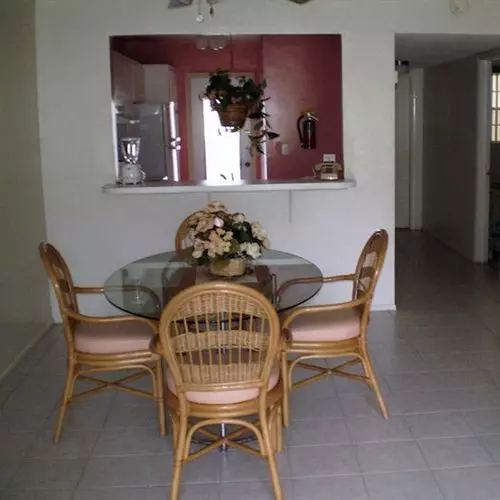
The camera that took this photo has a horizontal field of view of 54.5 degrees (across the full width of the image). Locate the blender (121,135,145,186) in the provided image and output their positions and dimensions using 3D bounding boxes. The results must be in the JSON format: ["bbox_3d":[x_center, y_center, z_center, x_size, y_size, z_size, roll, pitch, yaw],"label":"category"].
[{"bbox_3d":[-0.920,-0.680,3.704,0.222,0.360,0.227,3,13,-2],"label":"blender"}]

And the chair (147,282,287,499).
[{"bbox_3d":[-0.132,0.487,1.872,0.508,0.901,0.601,-1,11,3],"label":"chair"}]

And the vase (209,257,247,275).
[{"bbox_3d":[-0.101,0.074,2.215,0.108,0.049,0.098,-4,8,-34],"label":"vase"}]

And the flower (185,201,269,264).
[{"bbox_3d":[-0.163,-0.067,2.280,0.446,0.328,0.289,8,15,41],"label":"flower"}]
